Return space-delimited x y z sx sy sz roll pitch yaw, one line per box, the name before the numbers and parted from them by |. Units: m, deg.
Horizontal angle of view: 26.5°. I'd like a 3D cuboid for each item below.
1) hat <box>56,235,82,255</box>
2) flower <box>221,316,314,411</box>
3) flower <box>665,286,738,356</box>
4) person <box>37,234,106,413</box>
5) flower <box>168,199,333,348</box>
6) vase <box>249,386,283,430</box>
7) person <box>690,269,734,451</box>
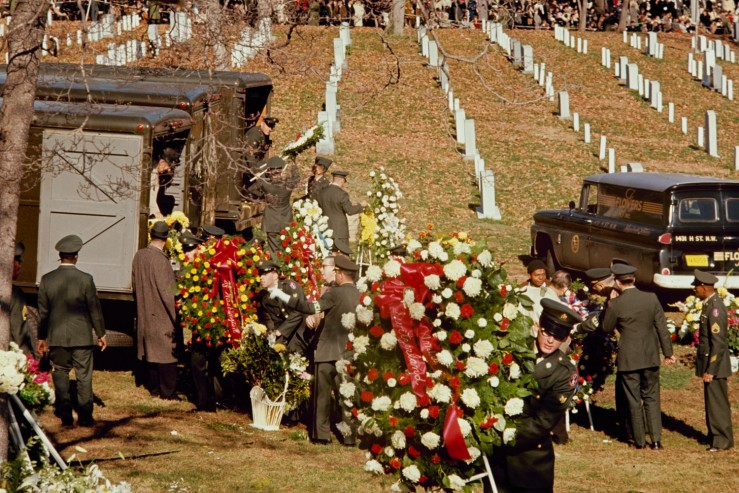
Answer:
hat | -5.610 -0.041 29.266 0.479 0.345 0.281 -1 3 -11
flower | -2.057 2.048 30.133 1.848 1.066 1.861 12 18 23
flower | 7.051 1.561 33.049 1.483 0.922 1.457 8 24 32
person | -5.563 1.546 29.275 1.217 3.518 0.483 -1 3 -10
flower | -2.503 0.479 30.437 1.984 1.084 2.319 -20 17 -30
vase | -1.884 3.059 30.006 0.824 0.968 0.788 2 -2 -4
person | 6.607 2.152 30.176 0.715 3.405 0.532 0 3 11
